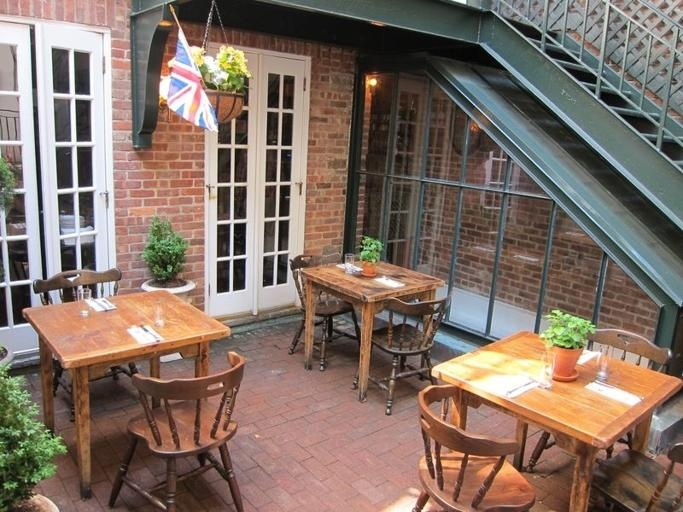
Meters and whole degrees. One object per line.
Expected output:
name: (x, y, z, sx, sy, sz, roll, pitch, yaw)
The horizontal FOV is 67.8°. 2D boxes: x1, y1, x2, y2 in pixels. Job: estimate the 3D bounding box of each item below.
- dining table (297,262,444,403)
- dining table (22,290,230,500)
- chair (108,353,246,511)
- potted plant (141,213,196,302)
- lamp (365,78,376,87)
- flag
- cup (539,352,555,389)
dining table: (0.271, 0.613, 5.431, 1.381, 1.207, 1.333, -9, 20, -35)
dining table: (-1.562, 0.915, 4.048, 1.499, 1.104, 1.441, -5, 17, -34)
chair: (-1.051, 1.151, 3.280, 0.766, 1.064, 0.642, 15, 20, 39)
potted plant: (-1.782, 0.064, 5.233, 0.541, 0.910, 0.673, -9, 19, -37)
lamp: (0.381, -2.217, 6.516, 0.109, 0.119, 0.196, 2, 20, 2)
flag: (-1.179, -1.372, 3.963, 0.358, 0.745, 0.391, -2, 16, -14)
cup: (1.315, 0.705, 3.233, 0.080, 0.223, 0.137, 9, 17, 22)
